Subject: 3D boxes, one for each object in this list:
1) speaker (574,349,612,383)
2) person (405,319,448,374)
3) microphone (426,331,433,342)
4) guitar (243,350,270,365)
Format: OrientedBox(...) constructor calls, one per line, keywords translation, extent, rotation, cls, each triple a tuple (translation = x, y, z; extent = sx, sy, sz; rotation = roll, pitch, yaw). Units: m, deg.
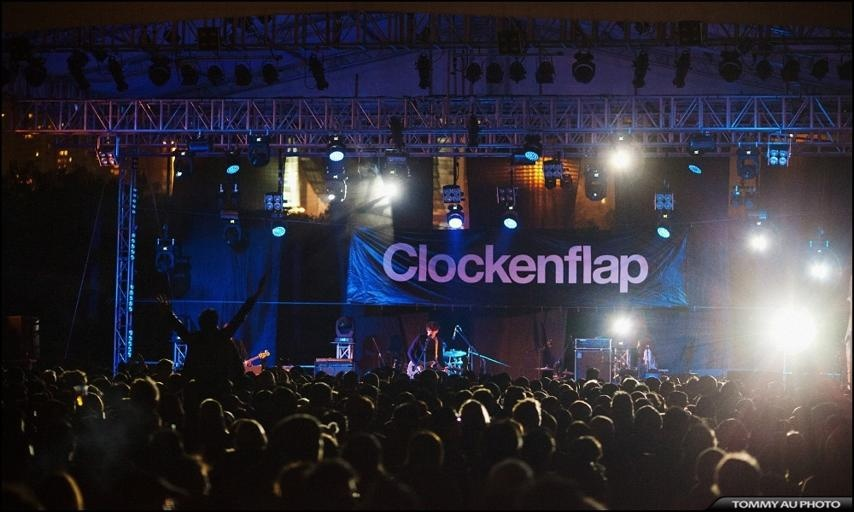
OrientedBox(translation=(4.646, 3.085, 27.836), extent=(1.038, 0.904, 0.540), rotation=(0, 0, 5), cls="speaker")
OrientedBox(translation=(-0.050, 2.664, 28.793), extent=(1.077, 0.515, 1.541), rotation=(2, 14, 13), cls="person")
OrientedBox(translation=(0.058, 2.290, 28.875), extent=(0.152, 0.245, 0.206), rotation=(-6, 10, -44), cls="microphone")
OrientedBox(translation=(-4.897, 2.965, 29.074), extent=(0.990, 0.154, 0.471), rotation=(-16, 14, -25), cls="guitar")
